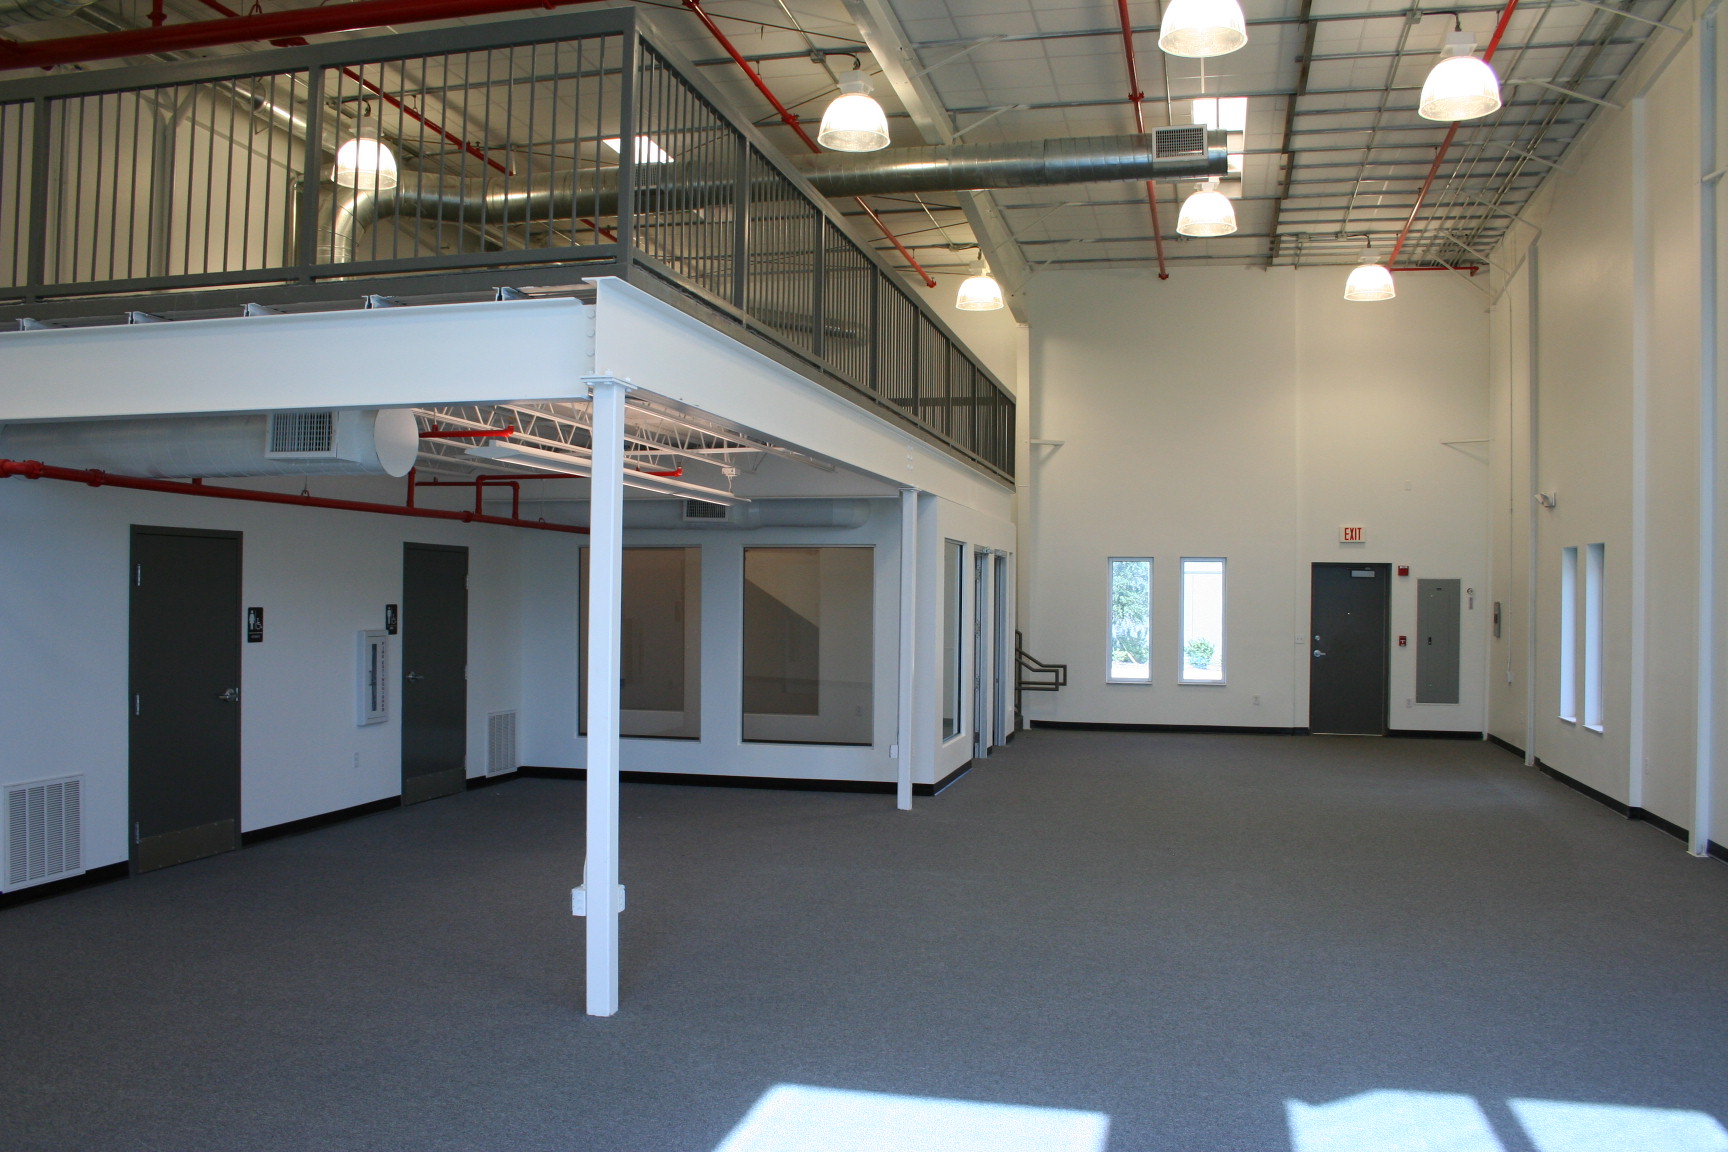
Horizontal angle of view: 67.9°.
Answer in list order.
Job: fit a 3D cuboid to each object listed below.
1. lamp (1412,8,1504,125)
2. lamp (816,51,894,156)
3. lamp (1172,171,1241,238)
[{"bbox_3d":[4.442,-3.799,9.599,0.504,0.693,0.496,0,6,-3],"label":"lamp"},{"bbox_3d":[-0.072,-3.891,10.558,0.488,0.637,0.503,-2,7,-19],"label":"lamp"},{"bbox_3d":[3.311,-3.587,12.340,0.440,0.576,0.613,3,7,20],"label":"lamp"}]
